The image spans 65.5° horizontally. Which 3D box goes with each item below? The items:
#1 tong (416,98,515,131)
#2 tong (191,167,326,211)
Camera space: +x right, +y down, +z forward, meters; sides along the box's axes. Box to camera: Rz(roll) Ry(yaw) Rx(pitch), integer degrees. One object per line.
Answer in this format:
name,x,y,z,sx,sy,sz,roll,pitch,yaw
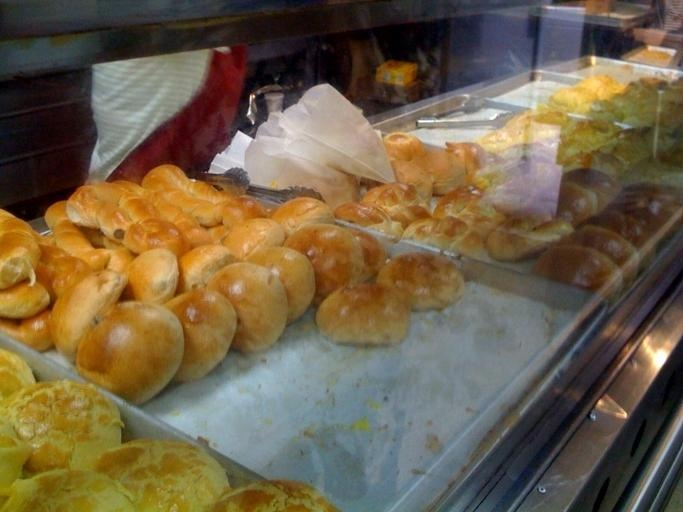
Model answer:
tong,0.379,-0.428,1.494,0.314,0.093,0.272,14,26,35
tong,-0.185,-0.167,1.345,0.341,0.050,0.128,15,0,-8
